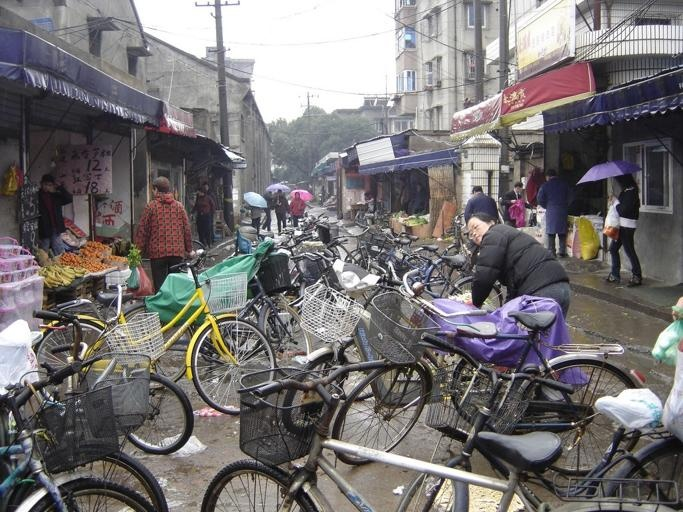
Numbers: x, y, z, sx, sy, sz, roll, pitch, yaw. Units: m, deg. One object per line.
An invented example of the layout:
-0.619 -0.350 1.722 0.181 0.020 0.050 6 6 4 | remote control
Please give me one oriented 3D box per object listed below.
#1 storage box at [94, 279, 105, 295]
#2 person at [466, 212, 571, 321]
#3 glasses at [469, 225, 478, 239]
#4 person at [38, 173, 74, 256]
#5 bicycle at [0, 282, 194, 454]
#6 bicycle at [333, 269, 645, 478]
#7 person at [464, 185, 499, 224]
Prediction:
-3.948 0.478 10.226 0.050 0.237 0.201 8 5 7 | storage box
1.632 0.149 5.751 0.908 1.047 0.712 -1 3 27 | person
1.264 -0.237 5.952 0.086 0.109 0.131 -1 -28 16 | glasses
-4.750 -0.678 10.234 0.295 1.336 0.929 -4 8 -2 | person
-2.008 1.068 4.868 1.445 1.019 0.950 1 4 9 | bicycle
1.151 0.952 4.816 2.329 1.581 1.221 9 5 -5 | bicycle
2.880 -0.882 12.869 0.480 1.222 0.363 -6 30 3 | person
